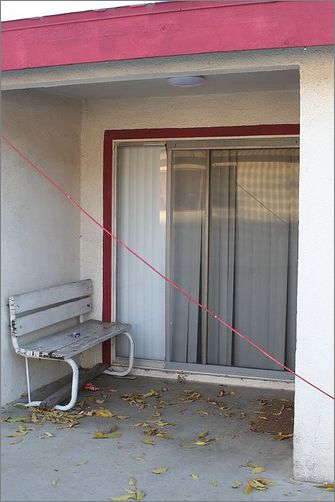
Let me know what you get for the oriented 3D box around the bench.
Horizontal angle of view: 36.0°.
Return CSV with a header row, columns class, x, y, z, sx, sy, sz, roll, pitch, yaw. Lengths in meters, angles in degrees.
class,x,y,z,sx,sy,sz,roll,pitch,yaw
bench,-0.776,0.734,4.257,0.593,0.873,1.279,2,3,18
